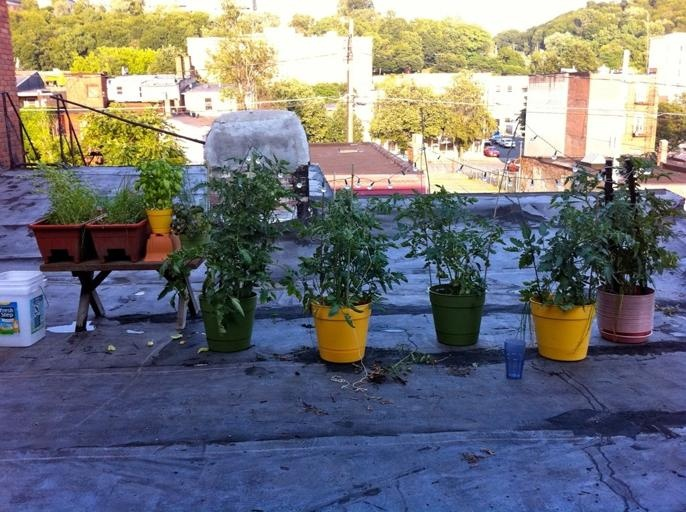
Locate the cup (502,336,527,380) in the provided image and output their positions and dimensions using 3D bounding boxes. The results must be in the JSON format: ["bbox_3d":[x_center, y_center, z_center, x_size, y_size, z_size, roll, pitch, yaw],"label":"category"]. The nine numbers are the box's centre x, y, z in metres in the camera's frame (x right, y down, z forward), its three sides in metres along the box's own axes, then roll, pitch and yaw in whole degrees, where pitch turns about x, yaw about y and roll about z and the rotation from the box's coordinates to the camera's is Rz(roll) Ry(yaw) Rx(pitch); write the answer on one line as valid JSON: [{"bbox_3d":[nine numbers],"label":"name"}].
[{"bbox_3d":[1.254,0.735,3.876,0.148,0.274,0.234,3,14,17],"label":"cup"}]

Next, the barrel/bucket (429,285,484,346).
[{"bbox_3d":[0.935,0.501,4.560,0.562,0.342,0.513,0,1,0],"label":"barrel/bucket"}]

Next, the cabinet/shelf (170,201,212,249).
[{"bbox_3d":[-1.344,-0.255,4.622,0.453,0.412,0.316,-3,33,-3],"label":"cabinet/shelf"}]

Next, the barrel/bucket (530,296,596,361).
[{"bbox_3d":[1.695,0.571,4.204,0.561,0.327,0.478,1,4,22],"label":"barrel/bucket"}]

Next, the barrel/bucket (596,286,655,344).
[{"bbox_3d":[2.345,0.469,4.549,0.535,0.402,0.507,-4,8,1],"label":"barrel/bucket"}]

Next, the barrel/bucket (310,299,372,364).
[{"bbox_3d":[-0.028,0.589,4.133,0.374,0.460,0.266,7,16,30],"label":"barrel/bucket"}]

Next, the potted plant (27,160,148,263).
[{"bbox_3d":[-2.141,-0.370,4.610,1.017,0.498,0.995,0,8,-6],"label":"potted plant"}]

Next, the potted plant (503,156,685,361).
[{"bbox_3d":[2.107,-0.021,4.352,1.095,1.521,1.311,7,16,29],"label":"potted plant"}]
